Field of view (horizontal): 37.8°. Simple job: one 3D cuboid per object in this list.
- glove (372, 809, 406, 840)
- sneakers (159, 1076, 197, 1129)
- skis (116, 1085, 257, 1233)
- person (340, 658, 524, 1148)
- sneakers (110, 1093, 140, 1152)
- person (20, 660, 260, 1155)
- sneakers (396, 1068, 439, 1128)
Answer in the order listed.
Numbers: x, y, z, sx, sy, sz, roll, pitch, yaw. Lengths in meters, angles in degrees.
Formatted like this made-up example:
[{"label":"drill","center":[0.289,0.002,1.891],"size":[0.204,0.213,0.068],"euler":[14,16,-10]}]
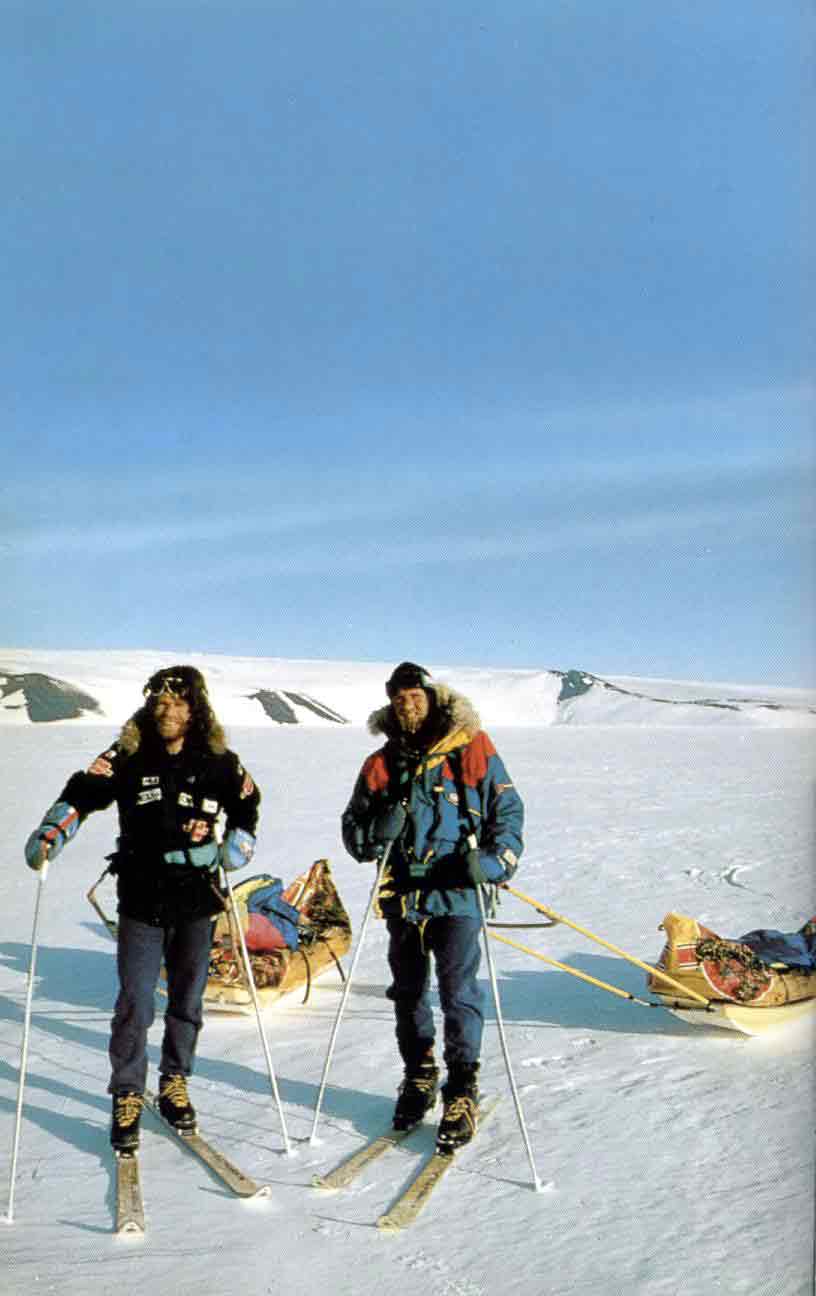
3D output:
[{"label":"glove","center":[-0.067,0.663,4.446],"size":[0.095,0.123,0.037],"euler":[-13,-22,38]},{"label":"sneakers","center":[-0.868,1.731,4.557],"size":[0.091,0.105,0.231],"euler":[2,-5,-25]},{"label":"skis","center":[-0.789,1.827,4.222],"size":[0.247,0.086,0.801],"euler":[5,-4,-22]},{"label":"person","center":[0.109,0.942,4.573],"size":[0.488,1.604,0.606],"euler":[-2,-1,-44]},{"label":"sneakers","center":[-1.001,1.719,4.315],"size":[0.079,0.114,0.246],"euler":[2,19,-13]},{"label":"person","center":[-0.952,0.951,4.490],"size":[0.807,1.457,0.449],"euler":[-2,-1,-8]},{"label":"sneakers","center":[0.035,1.725,4.528],"size":[0.098,0.121,0.289],"euler":[0,-6,12]}]
